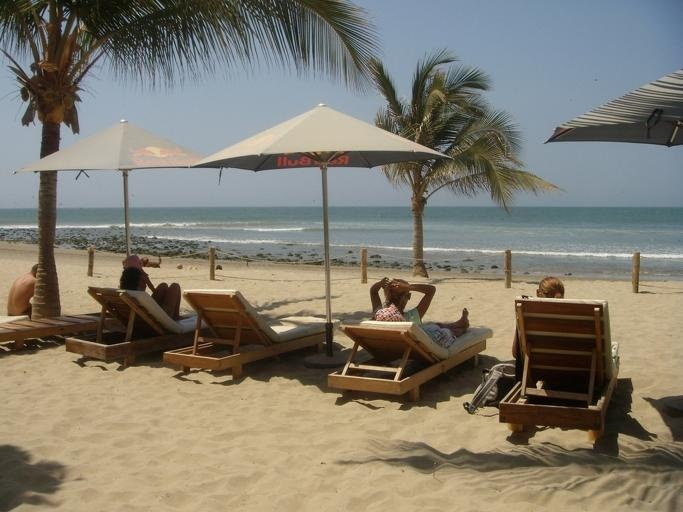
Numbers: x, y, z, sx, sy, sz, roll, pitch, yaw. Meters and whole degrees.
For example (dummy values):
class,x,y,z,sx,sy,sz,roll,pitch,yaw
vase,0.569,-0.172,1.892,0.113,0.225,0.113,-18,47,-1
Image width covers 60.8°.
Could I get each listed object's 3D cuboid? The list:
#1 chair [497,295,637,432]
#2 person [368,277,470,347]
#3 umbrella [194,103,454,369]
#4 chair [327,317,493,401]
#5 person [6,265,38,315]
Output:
class,x,y,z,sx,sy,sz,roll,pitch,yaw
chair,1.986,0.947,5.253,0.886,1.235,1.049,4,13,21
person,0.806,0.608,6.749,0.771,0.581,1.191,2,5,41
umbrella,-0.541,-0.293,7.588,3.647,2.499,3.649,3,4,42
chair,0.794,1.004,6.475,0.835,0.506,1.696,2,8,36
person,-4.810,0.531,8.869,0.437,0.794,0.677,-11,15,-37
